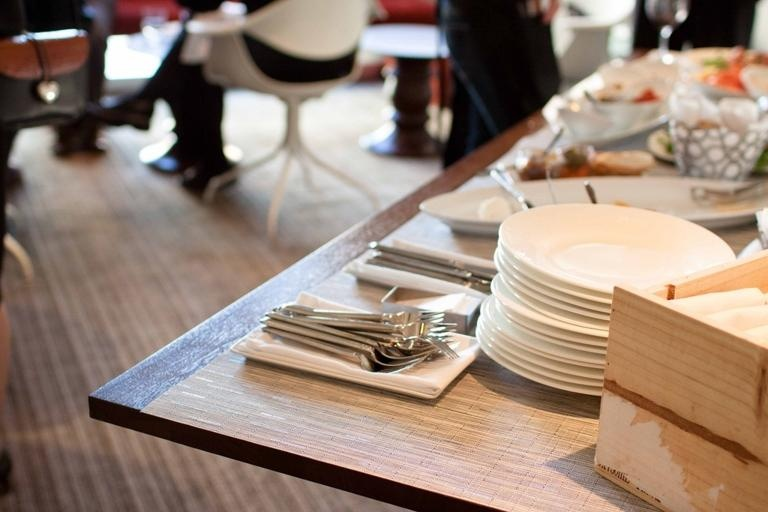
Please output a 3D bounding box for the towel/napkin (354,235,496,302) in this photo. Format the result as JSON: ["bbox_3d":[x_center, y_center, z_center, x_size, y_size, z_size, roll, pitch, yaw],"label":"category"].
[{"bbox_3d":[0.058,0.018,0.975,0.170,0.048,0.103,11,35,11],"label":"towel/napkin"}]

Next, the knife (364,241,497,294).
[{"bbox_3d":[0.054,0.023,1.028,0.249,0.046,0.071,14,37,17],"label":"knife"}]

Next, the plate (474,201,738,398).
[{"bbox_3d":[0.255,0.070,0.811,0.288,0.116,0.258,0,31,-9],"label":"plate"}]
